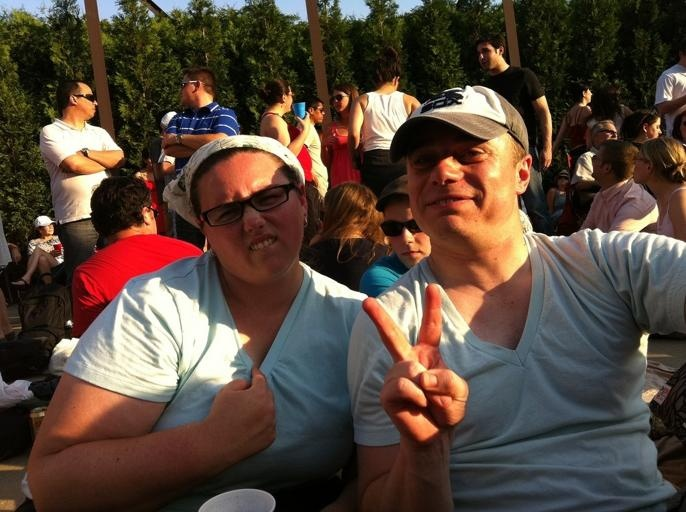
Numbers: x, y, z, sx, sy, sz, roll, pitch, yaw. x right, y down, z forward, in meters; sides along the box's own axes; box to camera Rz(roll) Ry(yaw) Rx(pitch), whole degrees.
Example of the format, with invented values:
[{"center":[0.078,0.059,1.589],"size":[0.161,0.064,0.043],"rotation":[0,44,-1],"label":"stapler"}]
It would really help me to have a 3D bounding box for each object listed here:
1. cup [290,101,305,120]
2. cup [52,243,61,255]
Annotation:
[{"center":[-0.557,-1.889,7.075],"size":[0.207,0.252,0.208],"rotation":[-2,12,0],"label":"cup"},{"center":[-5.653,-0.124,10.683],"size":[0.183,0.200,0.198],"rotation":[-4,-2,0],"label":"cup"}]
